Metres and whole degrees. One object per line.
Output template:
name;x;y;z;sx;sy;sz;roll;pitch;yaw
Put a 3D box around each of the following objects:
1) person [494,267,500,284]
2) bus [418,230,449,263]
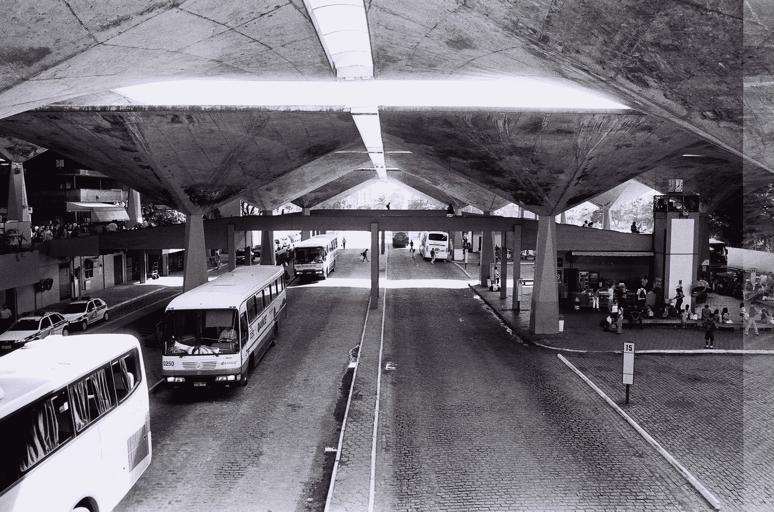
person;8.862;1.526;47.482;0.504;1.075;1.151;4;-5;8
bus;5.433;-1.171;67.227;3.032;3.320;4.256;-2;-1;4
